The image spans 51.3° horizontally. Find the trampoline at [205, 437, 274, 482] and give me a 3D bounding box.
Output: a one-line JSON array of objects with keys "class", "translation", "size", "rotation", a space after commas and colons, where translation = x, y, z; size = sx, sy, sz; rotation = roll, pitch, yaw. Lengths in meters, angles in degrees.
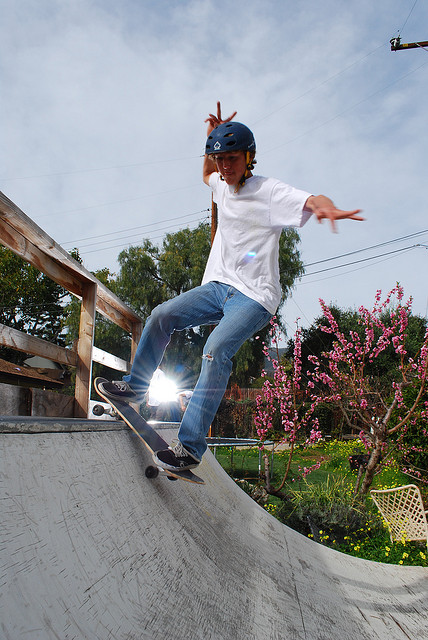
[{"class": "trampoline", "translation": [0.425, 2.913, 9.848], "size": [1.117, 0.866, 2.228], "rotation": [8, -3, 3]}]

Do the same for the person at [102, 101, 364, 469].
[{"class": "person", "translation": [0.131, -0.265, 2.390], "size": [1.209, 2.116, 0.640], "rotation": [9, -3, 42]}]

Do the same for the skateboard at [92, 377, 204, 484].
[{"class": "skateboard", "translation": [-0.375, 0.522, 2.233], "size": [0.320, 0.446, 0.952], "rotation": [9, -2, -33]}]
